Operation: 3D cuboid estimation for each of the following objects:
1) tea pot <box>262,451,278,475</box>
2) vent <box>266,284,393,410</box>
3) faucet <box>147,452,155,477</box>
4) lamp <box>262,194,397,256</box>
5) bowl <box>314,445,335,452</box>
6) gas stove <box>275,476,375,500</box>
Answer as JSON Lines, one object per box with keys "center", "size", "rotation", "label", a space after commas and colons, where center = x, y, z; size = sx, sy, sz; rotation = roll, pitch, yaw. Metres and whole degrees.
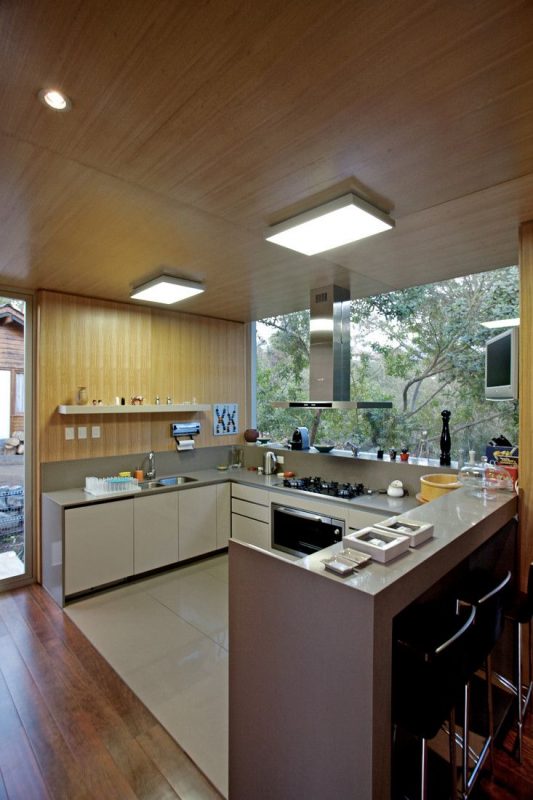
{"center": [0.039, 0.561, 4.720], "size": [0.121, 0.193, 0.108], "rotation": [-1, 3, -13], "label": "tea pot"}
{"center": [0.472, -0.377, 3.716], "size": [0.335, 0.855, 0.607], "rotation": [-2, 3, -32], "label": "vent"}
{"center": [-0.965, 0.552, 4.463], "size": [0.065, 0.212, 0.113], "rotation": [1, 3, 29], "label": "faucet"}
{"center": [0.269, -0.761, 2.319], "size": [0.342, 0.103, 0.515], "rotation": [-3, 4, -43], "label": "lamp"}
{"center": [0.471, 0.405, 4.428], "size": [0.172, 0.055, 0.077], "rotation": [2, 4, 36], "label": "bowl"}
{"center": [0.408, 0.647, 3.998], "size": [0.444, 0.050, 0.845], "rotation": [-3, 4, -43], "label": "gas stove"}
